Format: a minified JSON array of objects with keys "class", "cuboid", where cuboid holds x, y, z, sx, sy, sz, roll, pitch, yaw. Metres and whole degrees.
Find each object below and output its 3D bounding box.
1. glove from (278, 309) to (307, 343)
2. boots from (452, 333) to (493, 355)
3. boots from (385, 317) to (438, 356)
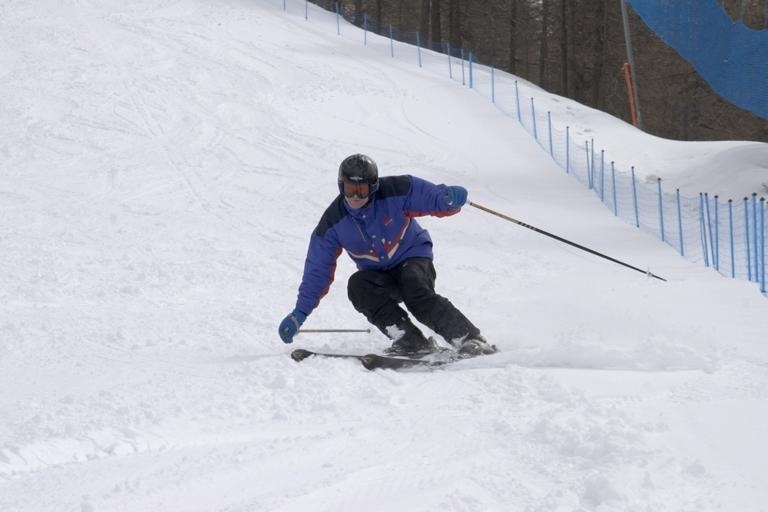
[{"class":"glove","cuboid":[-1.402,1.088,21.614,0.232,0.389,0.538,47,41,16]},{"class":"boots","cuboid":[1.313,1.341,21.336,0.436,0.127,0.332,-1,7,-41]},{"class":"boots","cuboid":[0.400,1.252,21.439,0.785,0.516,0.385,4,16,-3]}]
